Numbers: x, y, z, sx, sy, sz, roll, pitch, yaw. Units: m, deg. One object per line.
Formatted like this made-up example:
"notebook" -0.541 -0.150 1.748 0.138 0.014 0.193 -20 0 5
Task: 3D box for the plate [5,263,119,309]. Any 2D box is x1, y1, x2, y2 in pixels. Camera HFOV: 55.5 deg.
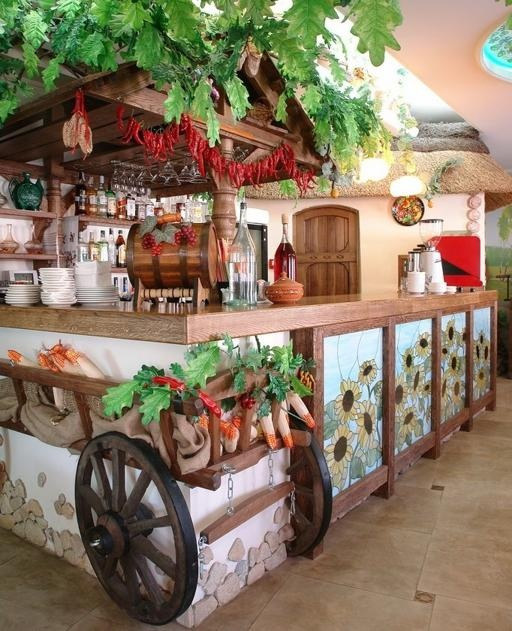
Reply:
"plate" -0.893 -0.139 2.168 0.540 0.196 0.272 2 2 22

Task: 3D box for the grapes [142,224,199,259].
"grapes" -0.314 -0.272 1.771 0.221 0.112 0.043 1 2 17

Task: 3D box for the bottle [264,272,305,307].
"bottle" 0.111 -0.103 1.879 0.123 0.102 0.119 -4 8 -20

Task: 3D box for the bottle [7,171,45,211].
"bottle" -1.731 -0.925 3.659 0.224 0.264 0.138 0 2 -25
